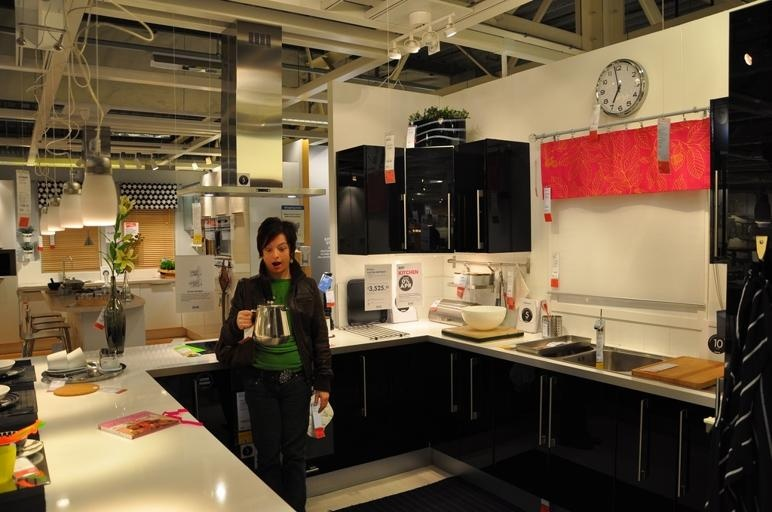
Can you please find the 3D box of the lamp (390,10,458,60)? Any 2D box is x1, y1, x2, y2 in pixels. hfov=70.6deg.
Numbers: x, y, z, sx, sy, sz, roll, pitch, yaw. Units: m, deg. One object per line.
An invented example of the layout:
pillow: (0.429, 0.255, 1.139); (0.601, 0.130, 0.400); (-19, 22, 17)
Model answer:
lamp: (0.318, -1.853, 4.675); (0.572, 0.396, 0.912); (2, 11, 0)

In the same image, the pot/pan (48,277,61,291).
pot/pan: (-5.689, 0.490, 9.366); (0.134, 0.124, 0.169); (2, -4, -19)

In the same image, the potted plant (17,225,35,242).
potted plant: (-6.980, -0.415, 10.662); (0.247, 0.331, 0.307); (8, 12, 26)

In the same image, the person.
person: (-0.790, 0.892, 3.967); (0.705, 2.305, 0.600); (8, 12, 30)

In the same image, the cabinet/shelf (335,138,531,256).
cabinet/shelf: (0.771, -0.485, 5.304); (1.428, 1.326, 1.029); (0, -2, 34)

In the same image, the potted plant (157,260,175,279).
potted plant: (-4.629, 0.297, 11.538); (0.419, 0.328, 0.425); (0, 0, -40)

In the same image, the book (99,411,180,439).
book: (-1.343, 0.915, 2.989); (0.356, 0.028, 0.276); (7, 13, 23)

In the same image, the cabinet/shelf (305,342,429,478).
cabinet/shelf: (-0.186, 1.268, 4.589); (1.287, 1.166, 0.498); (-2, -1, -29)

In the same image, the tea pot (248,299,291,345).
tea pot: (-0.747, 0.421, 3.472); (0.279, 0.282, 0.226); (0, 1, -8)

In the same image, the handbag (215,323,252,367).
handbag: (-1.052, 0.620, 3.813); (0.236, 0.323, 0.112); (-6, -1, 28)

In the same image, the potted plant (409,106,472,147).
potted plant: (0.423, -1.243, 5.251); (0.460, 0.300, 0.263); (-5, 46, 6)

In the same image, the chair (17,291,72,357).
chair: (-4.943, 0.999, 7.904); (0.437, 0.794, 1.141); (-4, 8, -27)

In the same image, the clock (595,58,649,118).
clock: (1.886, -1.323, 4.308); (0.133, 0.593, 0.496); (-4, 6, -41)

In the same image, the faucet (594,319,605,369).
faucet: (1.680, 0.709, 4.298); (0.105, 0.326, 0.086); (3, -4, -5)

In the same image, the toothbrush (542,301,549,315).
toothbrush: (1.407, 0.456, 4.794); (0.039, 0.154, 0.031); (-3, -7, 2)
